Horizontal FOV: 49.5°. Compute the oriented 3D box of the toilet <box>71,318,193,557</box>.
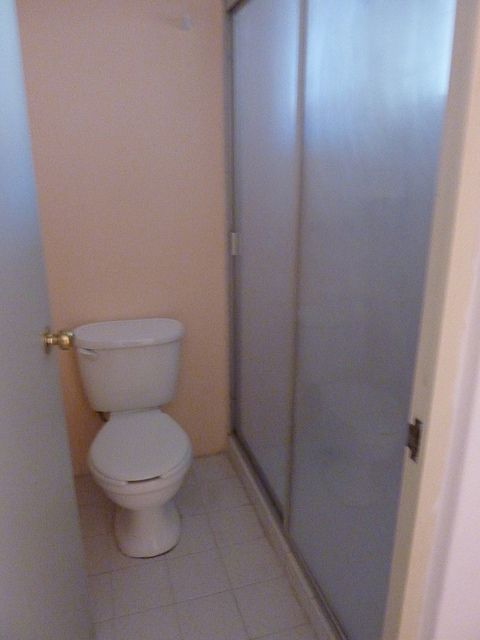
[{"bbox_3d":[-0.367,0.419,1.824,0.309,0.649,0.578,-4,21,-12],"label":"toilet"}]
